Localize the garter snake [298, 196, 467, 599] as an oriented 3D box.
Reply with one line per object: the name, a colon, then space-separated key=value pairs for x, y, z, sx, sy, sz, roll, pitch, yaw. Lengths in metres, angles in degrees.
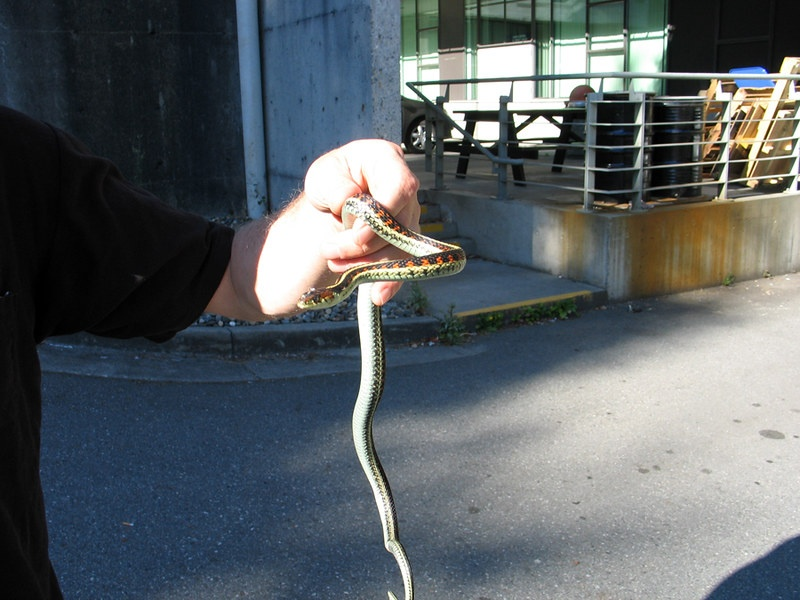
garter snake: x=-0.051 y=0.521 z=3.155 sx=0.650 sy=1.184 sz=1.157 roll=-8 pitch=-6 yaw=-20
